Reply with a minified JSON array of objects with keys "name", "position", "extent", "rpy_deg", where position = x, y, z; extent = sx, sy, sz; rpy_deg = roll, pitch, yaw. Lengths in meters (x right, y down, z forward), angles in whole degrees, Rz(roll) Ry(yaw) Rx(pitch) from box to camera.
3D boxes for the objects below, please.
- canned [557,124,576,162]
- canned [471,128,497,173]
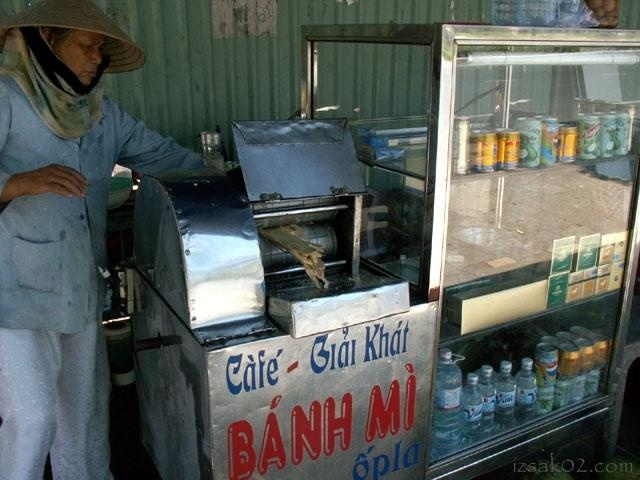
[{"name":"canned","position":[1.194,-0.461,2.837],"extent":[0.153,0.180,0.051],"rpy_deg":[-14,13,-41]},{"name":"canned","position":[0.716,-0.389,2.595],"extent":[0.158,0.176,0.162],"rpy_deg":[-2,15,-4]}]
